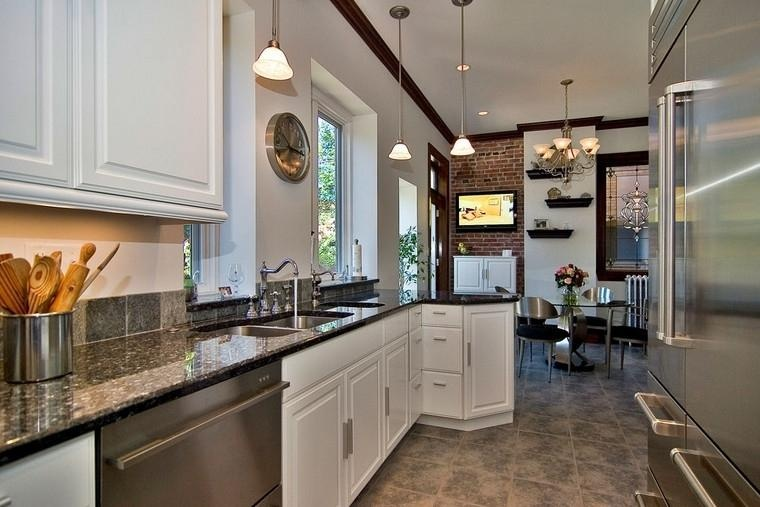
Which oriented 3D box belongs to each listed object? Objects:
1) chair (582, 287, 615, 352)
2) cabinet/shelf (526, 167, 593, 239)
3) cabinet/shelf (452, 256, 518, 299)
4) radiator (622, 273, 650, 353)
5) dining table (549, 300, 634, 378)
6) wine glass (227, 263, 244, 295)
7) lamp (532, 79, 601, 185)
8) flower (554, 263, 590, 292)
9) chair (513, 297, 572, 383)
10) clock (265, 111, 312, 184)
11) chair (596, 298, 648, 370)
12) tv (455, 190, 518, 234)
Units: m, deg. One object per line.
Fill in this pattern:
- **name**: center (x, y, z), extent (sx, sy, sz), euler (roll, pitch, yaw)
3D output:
- **chair**: center (2.329, 0.720, 5.663), extent (0.433, 0.629, 0.364), euler (-8, 12, -28)
- **cabinet/shelf**: center (2.365, -0.659, 6.926), extent (0.837, 0.852, 0.254), euler (-8, -3, 32)
- **cabinet/shelf**: center (1.445, 0.261, 7.124), extent (0.837, 0.523, 0.289), euler (1, 17, 14)
- **radiator**: center (3.299, 0.658, 6.606), extent (0.372, 0.751, 0.117), euler (-8, 13, -8)
- **dining table**: center (2.274, 0.847, 5.374), extent (0.612, 0.633, 0.618), euler (3, -1, -33)
- **wine glass**: center (-0.861, 0.154, 3.076), extent (0.089, 0.185, 0.150), euler (-2, 6, -15)
- **lamp**: center (2.108, -1.406, 5.806), extent (0.704, 1.130, 0.809), euler (1, 2, 32)
- **flower**: center (1.943, 0.271, 5.203), extent (0.309, 0.307, 0.315), euler (2, -9, -10)
- **chair**: center (1.726, 0.829, 5.499), extent (0.510, 0.883, 1.324), euler (2, 6, 16)
- **clock**: center (-0.607, -0.697, 3.419), extent (0.071, 0.448, 0.444), euler (-1, 1, 22)
- **chair**: center (2.565, 0.793, 5.230), extent (0.503, 0.759, 0.507), euler (3, -12, 21)
- **tv**: center (1.546, -0.615, 7.548), extent (0.910, 0.572, 0.167), euler (2, 6, 19)
